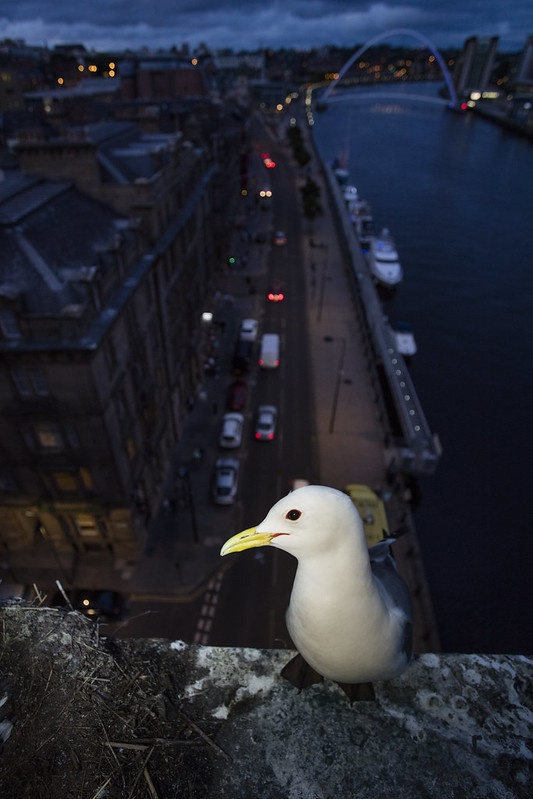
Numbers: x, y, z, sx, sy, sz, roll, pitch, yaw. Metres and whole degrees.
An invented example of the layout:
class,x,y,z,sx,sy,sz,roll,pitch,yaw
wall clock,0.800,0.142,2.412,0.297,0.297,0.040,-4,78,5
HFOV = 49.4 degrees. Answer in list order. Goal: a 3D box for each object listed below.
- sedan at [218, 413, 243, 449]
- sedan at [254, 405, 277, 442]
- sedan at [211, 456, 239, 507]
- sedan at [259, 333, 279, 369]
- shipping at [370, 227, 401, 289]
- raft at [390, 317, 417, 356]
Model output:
class,x,y,z,sx,sy,sz,roll,pitch,yaw
sedan,-1.642,1.458,26.915,0.737,0.583,1.747,2,52,3
sedan,-0.066,1.117,27.547,0.760,0.612,1.814,3,43,3
sedan,-1.746,3.231,24.009,1.117,0.595,2.496,0,35,2
sedan,0.109,-2.772,33.399,0.735,0.708,2.413,1,40,2
shipping,1.999,-2.296,9.864,0.578,1.117,0.711,2,38,2
raft,2.673,-1.300,11.494,0.365,0.624,0.601,-13,80,3
